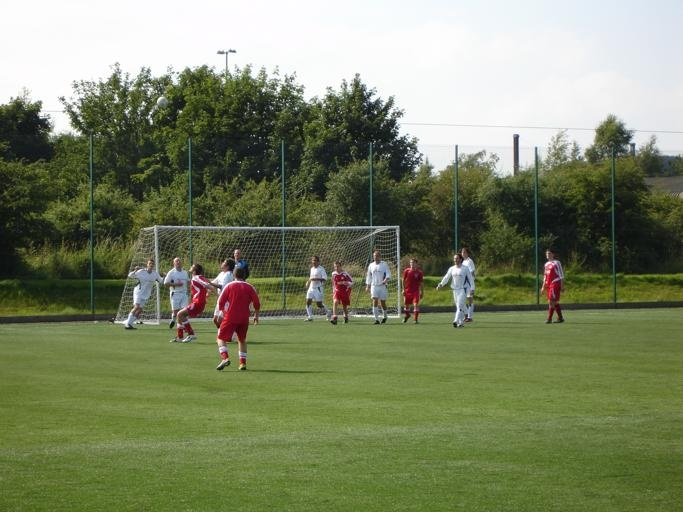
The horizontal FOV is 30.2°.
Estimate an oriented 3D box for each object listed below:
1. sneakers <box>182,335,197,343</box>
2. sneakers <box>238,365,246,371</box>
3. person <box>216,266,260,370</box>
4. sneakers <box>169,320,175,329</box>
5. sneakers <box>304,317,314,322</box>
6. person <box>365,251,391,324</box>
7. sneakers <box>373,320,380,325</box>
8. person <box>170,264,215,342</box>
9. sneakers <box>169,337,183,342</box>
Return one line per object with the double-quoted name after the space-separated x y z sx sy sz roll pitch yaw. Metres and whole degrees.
-3.795 2.073 31.283 0.119 0.157 0.330 -3 2 42 "sneakers"
-2.087 2.359 26.468 0.139 0.103 0.075 -4 6 -7 "sneakers"
-2.223 1.347 26.786 0.898 2.191 1.298 -1 11 -4 "person"
-4.674 1.906 34.734 0.128 0.175 0.387 27 -18 1 "sneakers"
-1.011 1.911 37.746 0.291 0.224 0.107 2 2 34 "sneakers"
1.055 0.963 36.866 0.626 2.304 1.541 0 11 2 "person"
1.026 1.940 36.510 0.104 0.110 0.110 4 -9 -7 "sneakers"
-4.013 1.333 33.543 0.791 1.581 1.132 -1 -43 1 "person"
-4.101 2.086 31.250 0.340 0.149 0.121 3 1 3 "sneakers"
